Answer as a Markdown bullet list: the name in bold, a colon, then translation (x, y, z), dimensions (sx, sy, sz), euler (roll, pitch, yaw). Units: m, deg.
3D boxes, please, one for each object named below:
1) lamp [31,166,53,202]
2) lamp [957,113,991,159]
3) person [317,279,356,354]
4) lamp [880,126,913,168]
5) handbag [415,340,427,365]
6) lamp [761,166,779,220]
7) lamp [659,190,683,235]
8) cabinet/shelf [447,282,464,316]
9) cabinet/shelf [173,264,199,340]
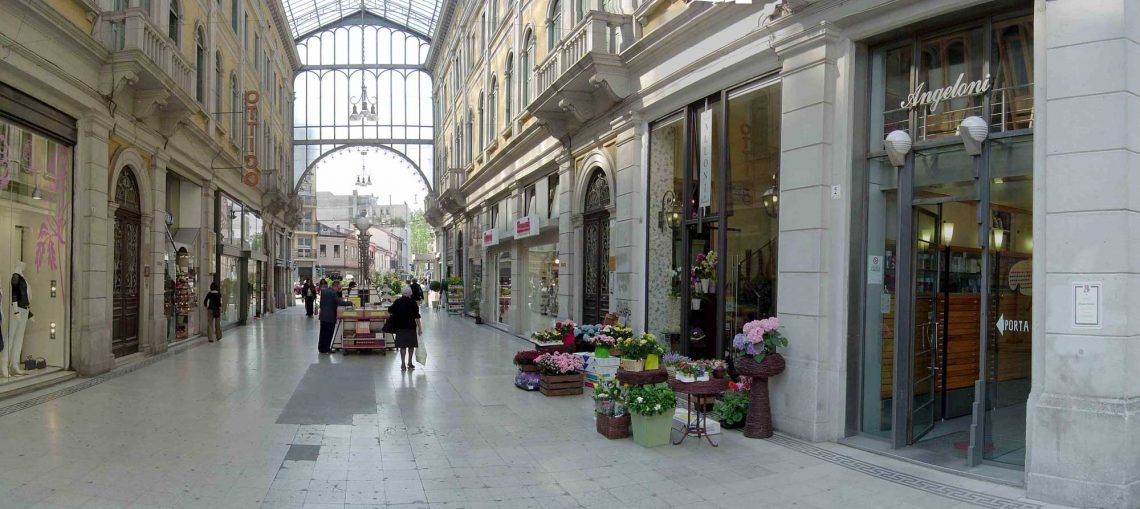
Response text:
- **lamp**: translation (-14.310, -1.877, 19.745), dimensions (0.391, 0.822, 0.149), euler (1, 2, -33)
- **lamp**: translation (8.599, -2.558, 15.640), dimensions (0.708, 0.762, 0.617), euler (5, -5, -17)
- **person**: translation (-8.094, 2.096, 24.849), dimensions (0.829, 2.412, 1.273), euler (1, 1, -16)
- **lamp**: translation (7.293, -2.367, 16.271), dimensions (0.729, 0.757, 0.630), euler (-1, 2, -14)
- **handbag**: translation (-4.551, 3.054, 22.278), dimensions (0.333, 0.753, 0.850), euler (1, -4, -13)
- **lamp**: translation (4.897, -1.477, 17.722), dimensions (0.130, 1.137, 0.519), euler (1, 1, -23)
- **lamp**: translation (2.745, -1.189, 19.818), dimensions (0.195, 1.077, 0.772), euler (1, 1, -30)
- **cabinet/shelf**: translation (-5.964, 2.370, 38.248), dimensions (0.877, 1.636, 0.621), euler (2, 1, 6)
- **cabinet/shelf**: translation (-13.986, 1.818, 26.503), dimensions (0.504, 2.535, 1.739), euler (1, 1, -20)
